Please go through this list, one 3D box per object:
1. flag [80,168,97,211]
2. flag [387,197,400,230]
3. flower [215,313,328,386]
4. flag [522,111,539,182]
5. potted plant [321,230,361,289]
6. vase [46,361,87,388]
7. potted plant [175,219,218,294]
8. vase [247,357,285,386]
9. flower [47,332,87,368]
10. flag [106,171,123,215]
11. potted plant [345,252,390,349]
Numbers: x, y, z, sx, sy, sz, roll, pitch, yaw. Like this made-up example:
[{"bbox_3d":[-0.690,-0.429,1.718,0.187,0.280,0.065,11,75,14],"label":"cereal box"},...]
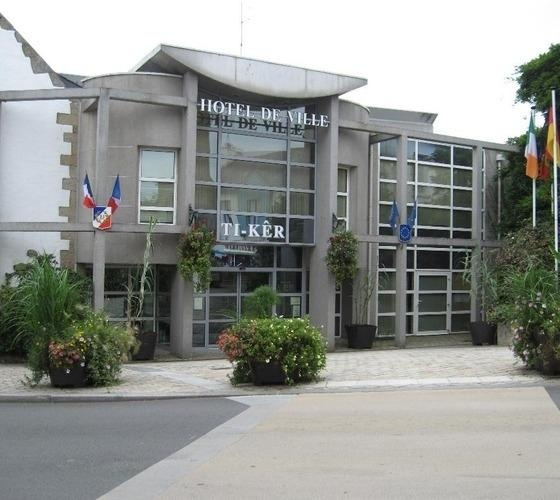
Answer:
[{"bbox_3d":[-4.879,-1.503,15.839,0.277,1.188,2.019,1,-6,-19],"label":"flag"},{"bbox_3d":[3.457,-1.052,18.548,0.287,0.891,0.981,-1,-5,11],"label":"flag"},{"bbox_3d":[-0.146,1.924,11.617,1.382,1.073,1.383,1,-11,-10],"label":"flower"},{"bbox_3d":[8.252,-3.309,20.249,0.397,2.452,1.963,-2,-5,23],"label":"flag"},{"bbox_3d":[1.825,0.287,17.489,0.872,1.539,0.778,-3,-3,21],"label":"potted plant"},{"bbox_3d":[-3.696,2.204,10.756,0.480,0.354,0.481,-1,-6,7],"label":"vase"},{"bbox_3d":[-2.152,0.180,16.093,0.924,1.831,1.526,0,-5,-5],"label":"potted plant"},{"bbox_3d":[-0.200,2.215,11.218,0.506,0.456,0.452,2,-9,-11],"label":"vase"},{"bbox_3d":[-3.641,1.690,10.638,0.472,0.552,0.319,-5,-48,0],"label":"flower"},{"bbox_3d":[-4.160,-1.440,15.552,0.333,1.175,1.460,1,-5,-15],"label":"flag"},{"bbox_3d":[2.699,1.666,19.648,1.114,2.820,2.505,-1,-5,10],"label":"potted plant"}]
